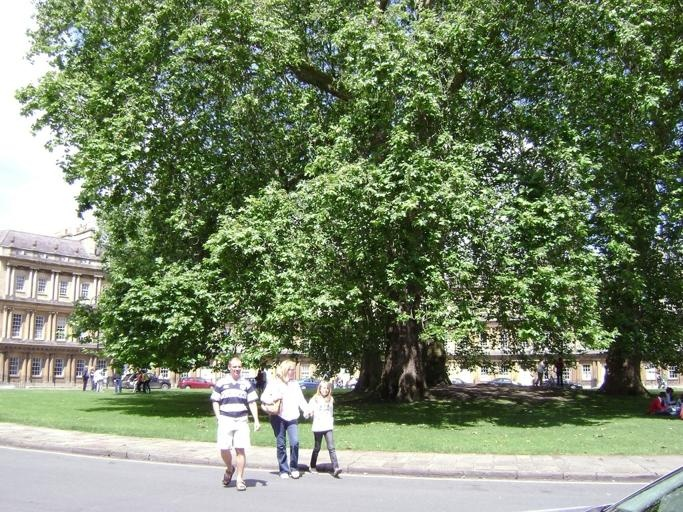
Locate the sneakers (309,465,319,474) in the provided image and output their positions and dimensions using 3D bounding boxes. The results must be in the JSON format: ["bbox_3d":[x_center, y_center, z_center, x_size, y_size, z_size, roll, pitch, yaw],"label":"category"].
[{"bbox_3d":[-0.623,4.905,12.752,0.097,0.091,0.215,18,-23,-27],"label":"sneakers"}]

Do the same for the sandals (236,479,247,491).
[{"bbox_3d":[-1.934,4.405,10.737,0.192,0.181,0.266,1,-12,-10],"label":"sandals"}]

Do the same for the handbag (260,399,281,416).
[{"bbox_3d":[-1.546,3.313,12.233,0.411,0.311,0.450,6,-14,-29],"label":"handbag"}]

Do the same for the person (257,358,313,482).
[{"bbox_3d":[-1.234,3.561,12.244,1.086,2.467,0.549,5,-14,-26],"label":"person"}]

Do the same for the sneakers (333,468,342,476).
[{"bbox_3d":[-0.088,4.828,12.404,0.116,0.121,0.299,1,-32,-16],"label":"sneakers"}]
